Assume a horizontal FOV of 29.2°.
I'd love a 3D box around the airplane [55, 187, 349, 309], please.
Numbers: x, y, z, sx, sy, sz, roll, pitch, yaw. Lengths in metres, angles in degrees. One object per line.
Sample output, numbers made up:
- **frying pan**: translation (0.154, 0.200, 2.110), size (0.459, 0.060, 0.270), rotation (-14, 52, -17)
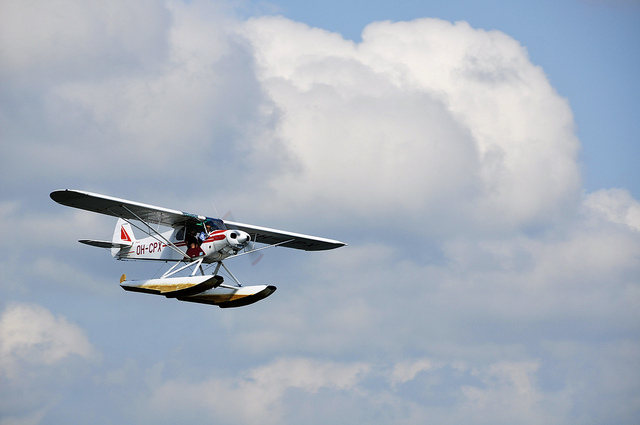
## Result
- **airplane**: translation (-3.792, 0.981, 31.526), size (7.317, 2.496, 6.190), rotation (17, -17, -42)
